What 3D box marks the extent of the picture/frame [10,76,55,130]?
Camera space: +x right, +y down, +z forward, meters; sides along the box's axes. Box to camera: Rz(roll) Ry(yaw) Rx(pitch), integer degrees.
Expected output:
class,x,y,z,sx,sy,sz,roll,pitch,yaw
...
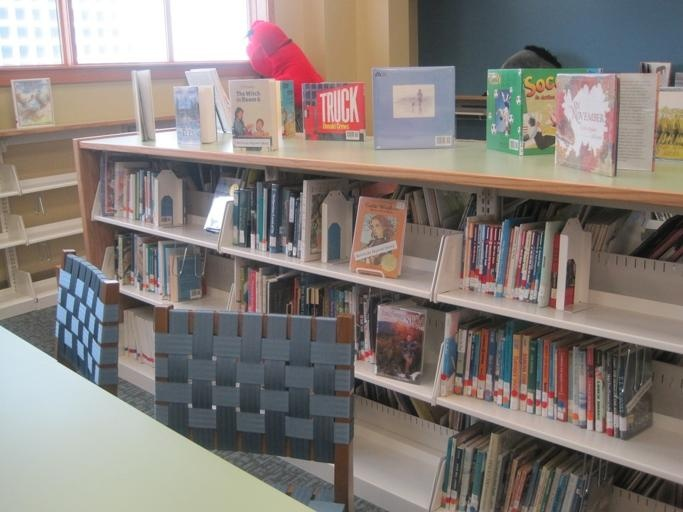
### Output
class,x,y,z,sx,sy,sz,roll,pitch,yaw
picture/frame,-2.370,-1.158,4.447,0.032,0.449,0.340,8,15,40

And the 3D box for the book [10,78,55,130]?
class,x,y,z,sx,sy,sz,roll,pitch,yaw
book,-2.371,-1.152,4.445,0.034,0.442,0.337,8,15,40

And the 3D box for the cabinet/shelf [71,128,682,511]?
class,x,y,z,sx,sy,sz,roll,pitch,yaw
cabinet/shelf,0.226,0.232,2.152,1.470,0.606,0.383,15,21,39

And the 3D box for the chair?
class,x,y,z,sx,sy,sz,roll,pitch,yaw
chair,-0.412,0.376,1.909,0.853,0.565,0.309,13,18,30
